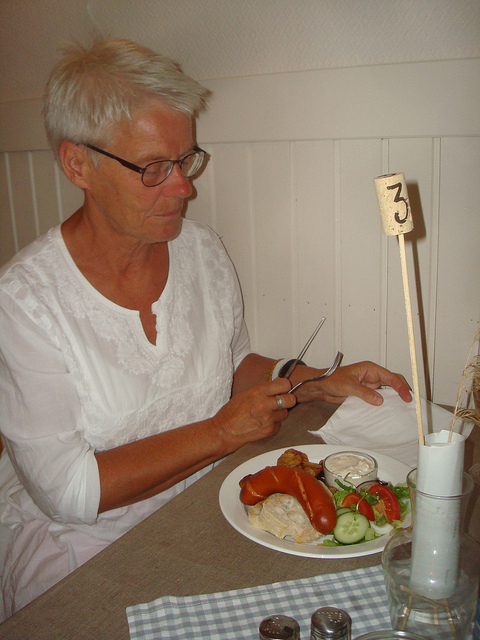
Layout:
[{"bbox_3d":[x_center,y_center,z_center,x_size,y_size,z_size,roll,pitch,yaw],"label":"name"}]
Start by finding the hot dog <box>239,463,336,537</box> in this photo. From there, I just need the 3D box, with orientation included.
[{"bbox_3d":[0.089,0.294,0.937,0.190,0.048,0.093,9,44,35],"label":"hot dog"}]

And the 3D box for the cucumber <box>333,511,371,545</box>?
[{"bbox_3d":[0.178,0.335,0.875,0.052,0.033,0.046,4,16,25],"label":"cucumber"}]

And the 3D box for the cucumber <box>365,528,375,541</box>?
[{"bbox_3d":[0.206,0.341,0.867,0.013,0.018,0.005,13,-30,-5],"label":"cucumber"}]

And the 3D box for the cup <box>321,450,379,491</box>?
[{"bbox_3d":[0.210,0.285,1.051,0.071,0.040,0.071,-2,11,0],"label":"cup"}]

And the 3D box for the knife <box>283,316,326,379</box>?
[{"bbox_3d":[0.215,0.084,1.771,0.040,0.225,0.018,47,16,33],"label":"knife"}]
